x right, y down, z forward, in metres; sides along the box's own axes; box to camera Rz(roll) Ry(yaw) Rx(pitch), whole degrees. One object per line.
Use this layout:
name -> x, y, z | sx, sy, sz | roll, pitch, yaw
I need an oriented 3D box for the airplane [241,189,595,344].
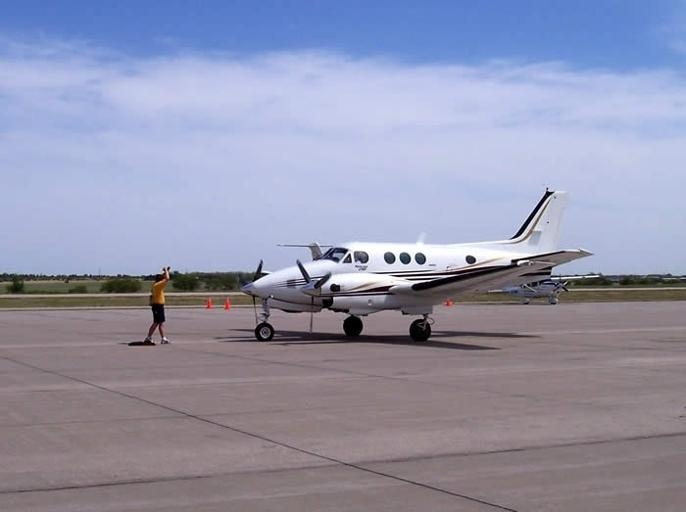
airplane -> 2.230, 0.516, 21.418 | 6.344, 1.999, 6.823 | 1, -2, -18
